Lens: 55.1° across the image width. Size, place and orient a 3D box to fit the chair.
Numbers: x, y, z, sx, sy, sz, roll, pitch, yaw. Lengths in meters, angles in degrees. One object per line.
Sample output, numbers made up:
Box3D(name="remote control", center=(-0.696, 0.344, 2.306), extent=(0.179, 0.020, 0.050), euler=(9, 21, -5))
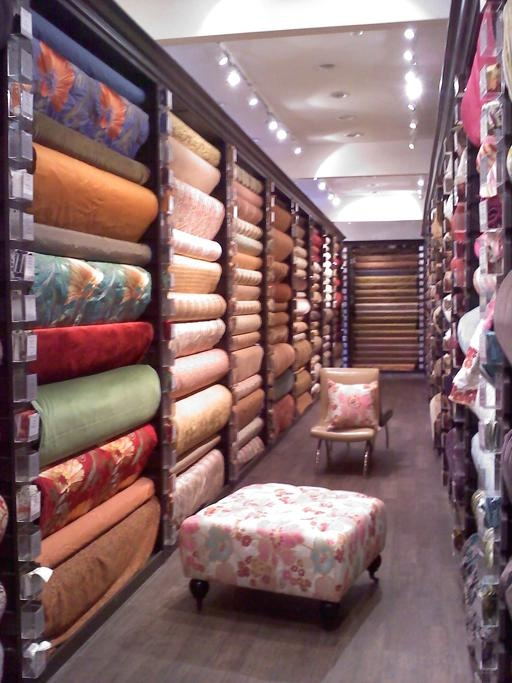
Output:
Box3D(name="chair", center=(0.779, 0.711, 4.297), extent=(0.535, 0.814, 0.645), euler=(1, 5, 21))

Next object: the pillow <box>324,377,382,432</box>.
Box3D(name="pillow", center=(0.853, 0.566, 4.353), extent=(0.442, 0.478, 0.180), euler=(-2, -15, 9))

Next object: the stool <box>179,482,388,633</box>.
Box3D(name="stool", center=(0.116, 0.822, 2.110), extent=(0.562, 0.332, 0.587), euler=(1, 1, 25))

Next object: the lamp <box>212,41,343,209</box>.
Box3D(name="lamp", center=(0.232, -2.359, 5.241), extent=(0.153, 0.068, 2.744), euler=(50, 10, 25))

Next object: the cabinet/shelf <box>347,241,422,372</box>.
Box3D(name="cabinet/shelf", center=(2.969, -0.706, 11.168), extent=(1.464, 2.815, 0.415), euler=(0, -1, 18))
